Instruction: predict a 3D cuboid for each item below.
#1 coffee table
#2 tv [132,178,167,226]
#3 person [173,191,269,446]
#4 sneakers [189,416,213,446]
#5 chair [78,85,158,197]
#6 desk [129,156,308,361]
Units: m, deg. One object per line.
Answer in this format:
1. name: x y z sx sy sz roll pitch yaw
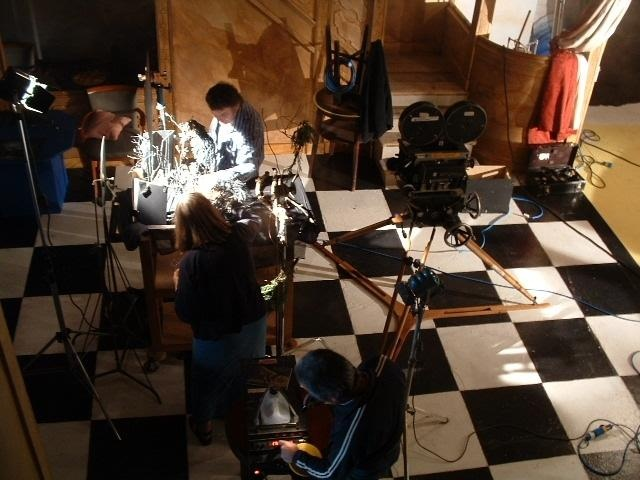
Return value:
1. coffee table: 0.218 -1.098 5.614 0.718 0.873 0.700 15 50 9
2. tv: -1.117 -0.253 3.465 0.297 0.277 0.068 2 6 -39
3. person: -0.608 0.540 3.248 0.550 1.717 0.243 -1 26 -16
4. sneakers: -0.797 1.276 3.461 0.117 0.249 0.098 -8 -9 -12
5. chair: -2.122 -1.043 5.460 0.626 0.927 0.658 -11 41 -11
6. desk: -0.777 0.245 4.201 1.564 1.494 1.255 -7 50 -8
